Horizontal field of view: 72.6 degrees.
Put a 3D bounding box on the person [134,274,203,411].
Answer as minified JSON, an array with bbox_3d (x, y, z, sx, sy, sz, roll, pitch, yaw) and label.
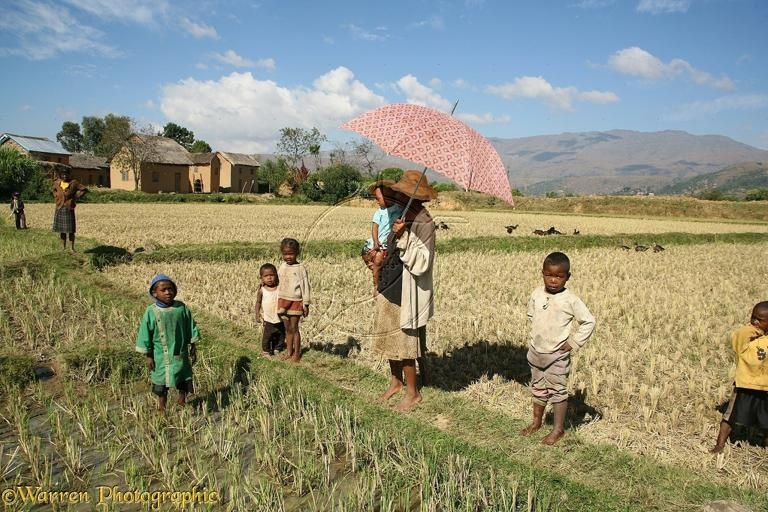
[{"bbox_3d":[-2.703,1.080,6.531,0.695,1.676,0.294,-2,6,-21],"label":"person"}]

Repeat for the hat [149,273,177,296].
[{"bbox_3d":[-2.778,0.350,6.516,0.291,0.222,0.404,-4,7,-29],"label":"hat"}]

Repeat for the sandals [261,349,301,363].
[{"bbox_3d":[-1.524,1.481,7.705,0.288,0.119,0.090,14,-28,1],"label":"sandals"}]

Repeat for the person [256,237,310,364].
[{"bbox_3d":[-1.510,0.630,7.751,0.829,1.780,0.476,0,6,-2],"label":"person"}]

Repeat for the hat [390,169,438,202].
[{"bbox_3d":[0.324,-0.930,6.461,0.598,0.293,0.649,20,21,-1],"label":"hat"}]

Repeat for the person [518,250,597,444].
[{"bbox_3d":[2.080,1.051,6.315,0.717,2.214,0.756,2,6,16],"label":"person"}]

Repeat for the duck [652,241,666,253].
[{"bbox_3d":[10.118,-0.316,19.292,0.353,0.505,0.707,-2,5,-1],"label":"duck"}]
